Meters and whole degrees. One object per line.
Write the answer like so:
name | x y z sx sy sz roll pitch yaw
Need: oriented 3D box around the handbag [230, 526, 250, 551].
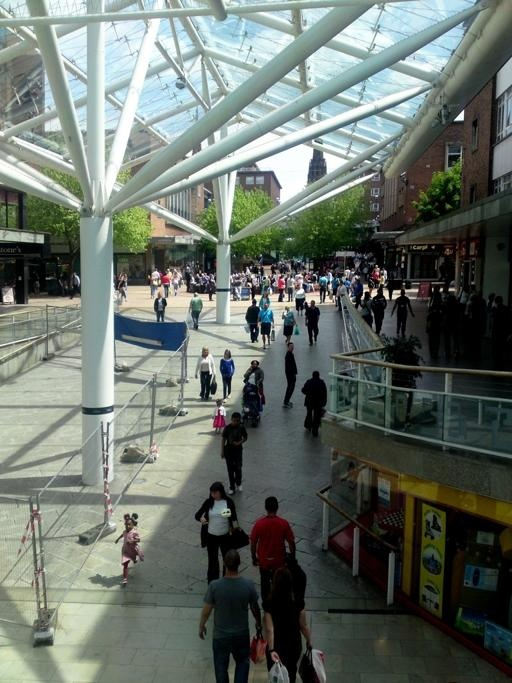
handbag | -0.182 2.067 6.024 0.190 0.284 0.318 0 7 -5

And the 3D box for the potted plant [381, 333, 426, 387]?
potted plant | 1.866 0.245 7.227 0.629 0.813 0.657 2 5 17
